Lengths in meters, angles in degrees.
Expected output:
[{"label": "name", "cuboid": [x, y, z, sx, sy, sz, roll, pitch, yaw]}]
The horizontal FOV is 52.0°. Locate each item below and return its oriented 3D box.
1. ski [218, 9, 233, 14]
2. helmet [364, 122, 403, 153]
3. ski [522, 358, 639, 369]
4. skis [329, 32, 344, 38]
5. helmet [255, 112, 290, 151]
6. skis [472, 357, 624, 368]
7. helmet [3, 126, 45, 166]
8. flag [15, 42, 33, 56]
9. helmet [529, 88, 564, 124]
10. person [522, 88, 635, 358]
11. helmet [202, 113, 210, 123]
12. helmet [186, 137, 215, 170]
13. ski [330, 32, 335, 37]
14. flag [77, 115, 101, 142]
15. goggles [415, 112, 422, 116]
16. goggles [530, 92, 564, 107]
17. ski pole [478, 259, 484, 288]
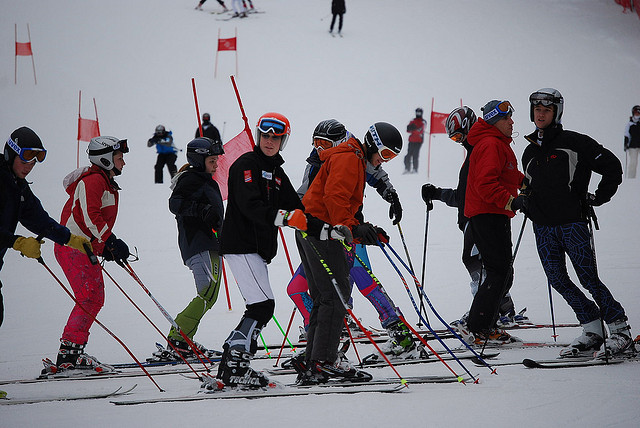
[{"label": "ski", "cuboid": [-3.696, -7.913, 25.605, 0.543, 0.204, 0.180, 0, 2, -2]}, {"label": "helmet", "cuboid": [0.817, -0.938, 8.414, 0.321, 0.362, 0.466, 25, 34, -27]}, {"label": "ski", "cuboid": [3.218, 1.856, 8.132, 1.351, 0.098, 0.136, 0, 3, 0]}, {"label": "skis", "cuboid": [0.584, -6.613, 24.174, 0.326, 0.249, 0.084, 1, -8, -9]}, {"label": "helmet", "cuboid": [-0.605, -1.090, 8.238, 0.354, 0.504, 0.434, 9, 7, -2]}, {"label": "skis", "cuboid": [2.867, 1.869, 8.210, 1.832, 0.126, 0.248, 1, 3, 3]}, {"label": "helmet", "cuboid": [-3.737, -0.834, 8.116, 0.474, 0.545, 0.386, -8, 7, 23]}, {"label": "flag", "cuboid": [-9.736, -5.429, 21.505, 0.632, 0.564, 0.055, 0, -5, 13]}, {"label": "helmet", "cuboid": [3.055, -1.489, 8.751, 0.411, 0.442, 0.375, -8, 18, -26]}, {"label": "person", "cuboid": [3.274, 0.080, 8.486, 1.247, 3.448, 0.482, 1, 2, 18]}, {"label": "helmet", "cuboid": [-2.932, -2.507, 17.093, 0.236, 0.304, 0.278, -3, 9, -33]}, {"label": "helmet", "cuboid": [-1.654, -0.892, 9.326, 0.361, 0.422, 0.342, -9, 16, 3]}, {"label": "ski", "cuboid": [0.467, -6.621, 24.149, 0.138, 0.149, 0.036, 2, -19, -4]}, {"label": "flag", "cuboid": [-5.700, -2.116, 16.183, 0.530, 0.740, 0.061, 4, -25, -28]}, {"label": "goggles", "cuboid": [2.713, -2.746, 17.950, 0.089, 0.075, 0.091, -1, -6, 44]}, {"label": "goggles", "cuboid": [2.990, -1.512, 8.643, 0.410, 0.190, 0.155, 1, 2, 3]}, {"label": "ski pole", "cuboid": [2.293, 0.865, 9.341, 0.069, 0.632, 0.078, 1, -11, 9]}]
